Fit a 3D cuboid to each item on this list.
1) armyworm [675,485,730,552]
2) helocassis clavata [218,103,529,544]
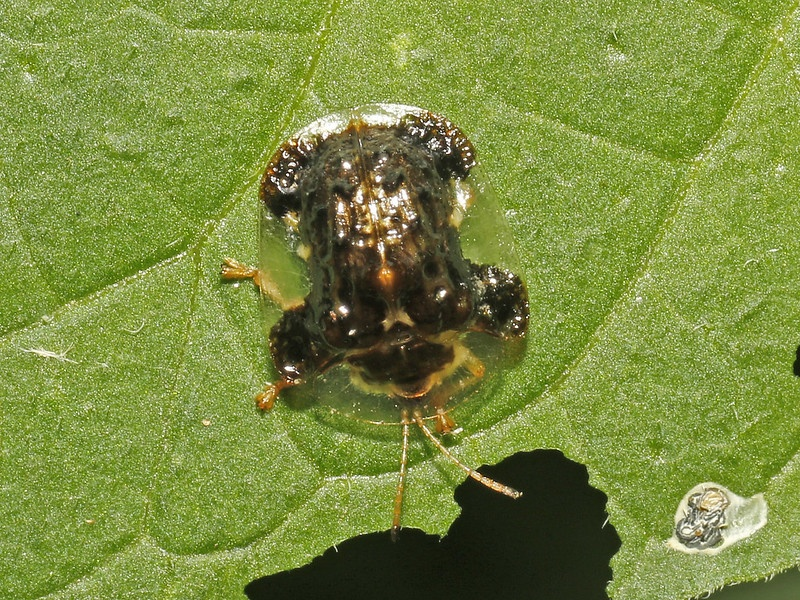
[{"bbox_3d":[2.701,1.942,8.633,0.416,0.156,0.540,12,73,-1],"label":"armyworm"},{"bbox_3d":[-0.163,-0.164,8.318,2.572,0.959,3.674,-13,91,6],"label":"helocassis clavata"}]
